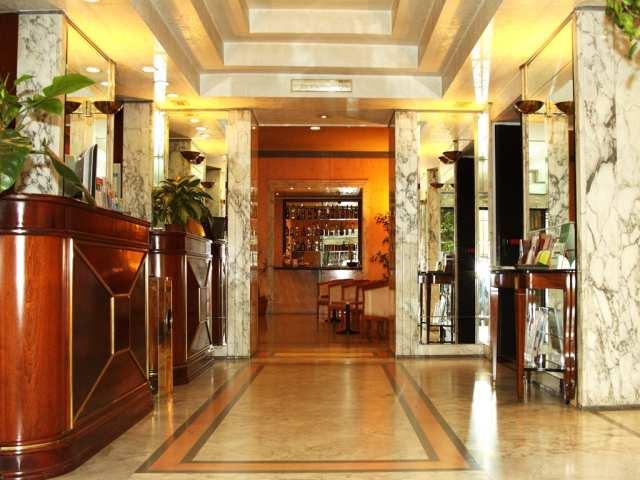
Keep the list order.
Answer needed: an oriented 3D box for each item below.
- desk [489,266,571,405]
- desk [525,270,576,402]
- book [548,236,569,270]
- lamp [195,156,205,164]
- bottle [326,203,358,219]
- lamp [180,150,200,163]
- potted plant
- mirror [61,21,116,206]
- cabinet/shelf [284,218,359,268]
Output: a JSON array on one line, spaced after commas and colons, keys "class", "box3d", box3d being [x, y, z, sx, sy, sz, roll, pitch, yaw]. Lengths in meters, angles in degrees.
[{"class": "desk", "box3d": [2.277, 1.048, 5.889, 0.428, 1.026, 1.303, 0, -1, 2]}, {"class": "desk", "box3d": [2.397, 1.021, 5.658, 0.398, 1.195, 1.205, 1, -2, 9]}, {"class": "book", "box3d": [2.542, 0.147, 5.804, 0.189, 0.501, 0.280, 1, 0, 15]}, {"class": "lamp", "box3d": [-1.783, -1.176, 8.042, 0.100, 0.059, 0.148, -4, -1, -17]}, {"class": "bottle", "box3d": [0.521, -0.696, 13.586, 0.821, 0.362, 0.075, -1, -1, 24]}, {"class": "lamp", "box3d": [-1.907, -1.224, 8.013, 0.181, 0.082, 0.197, -1, -3, 10]}, {"class": "potted plant", "box3d": [-1.881, -0.427, 7.093, 0.699, 0.740, 0.707, 4, 3, 14]}, {"class": "mirror", "box3d": [-2.370, -1.187, 5.648, 0.448, 1.852, 2.269, 0, -1, -21]}, {"class": "cabinet/shelf", "box3d": [0.009, 0.065, 13.552, 1.910, 1.170, 0.681, 0, -1, 3]}]
